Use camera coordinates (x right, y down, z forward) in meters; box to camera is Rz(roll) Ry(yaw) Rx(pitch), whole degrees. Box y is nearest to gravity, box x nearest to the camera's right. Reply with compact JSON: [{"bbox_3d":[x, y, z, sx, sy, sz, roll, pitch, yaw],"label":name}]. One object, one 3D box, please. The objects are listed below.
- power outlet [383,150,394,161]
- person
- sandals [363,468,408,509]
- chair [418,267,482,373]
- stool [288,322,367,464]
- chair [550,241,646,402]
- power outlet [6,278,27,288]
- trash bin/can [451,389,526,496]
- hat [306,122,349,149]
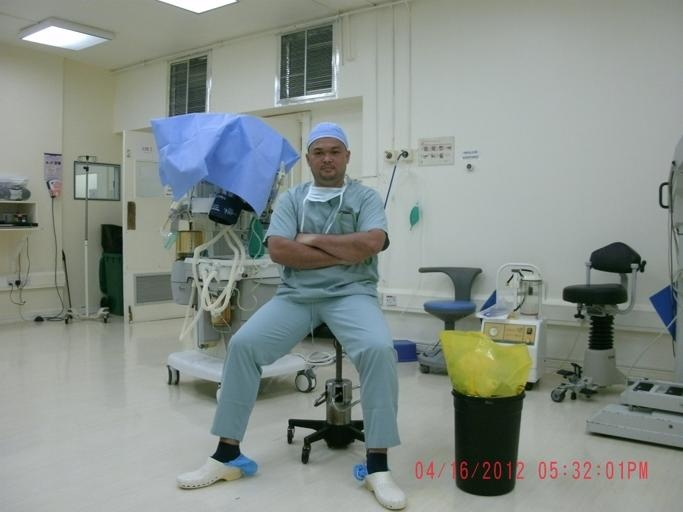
[{"bbox_3d":[0.455,-0.994,5.463,0.110,0.116,0.063,0,-2,26],"label":"power outlet"},{"bbox_3d":[-0.172,0.230,3.079,1.046,1.969,0.800,0,6,6],"label":"person"},{"bbox_3d":[0.213,1.170,2.816,0.105,0.105,0.223,-2,2,-22],"label":"sandals"},{"bbox_3d":[0.947,0.546,4.923,0.541,0.853,0.785,1,7,13],"label":"chair"},{"bbox_3d":[-0.052,0.817,3.358,0.561,0.910,0.608,0,1,-4],"label":"stool"},{"bbox_3d":[1.940,0.466,4.188,0.995,1.129,0.479,-6,9,-43],"label":"chair"},{"bbox_3d":[-3.977,0.327,6.785,0.212,0.122,0.044,-6,8,-39],"label":"power outlet"},{"bbox_3d":[0.711,0.942,3.007,0.468,0.626,0.468,0,-4,-1],"label":"trash bin/can"},{"bbox_3d":[-0.086,-0.709,3.310,0.227,0.164,0.239,-1,1,1],"label":"hat"}]
